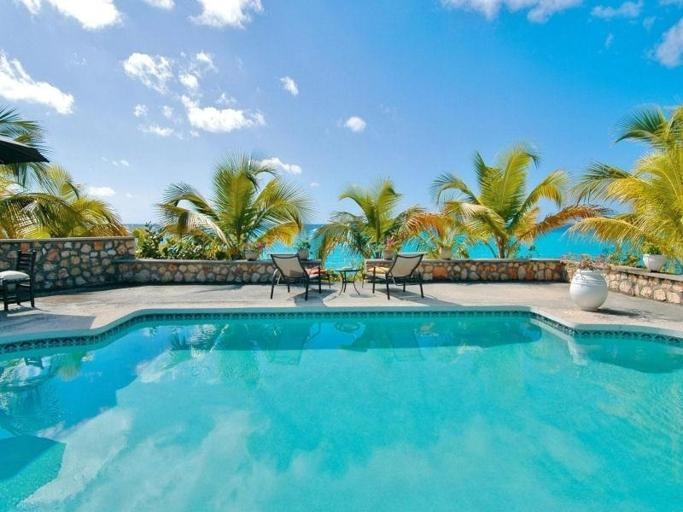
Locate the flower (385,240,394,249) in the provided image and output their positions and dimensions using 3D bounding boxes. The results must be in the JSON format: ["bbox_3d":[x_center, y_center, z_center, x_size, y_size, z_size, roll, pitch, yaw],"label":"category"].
[{"bbox_3d":[1.420,-0.327,12.247,0.225,0.156,0.234,-13,-9,36],"label":"flower"}]

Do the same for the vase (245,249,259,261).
[{"bbox_3d":[-2.747,-0.011,12.281,0.319,0.258,0.336,-1,0,25],"label":"vase"}]

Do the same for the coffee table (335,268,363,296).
[{"bbox_3d":[0.207,0.662,11.310,0.679,0.638,0.634,-1,7,-5],"label":"coffee table"}]

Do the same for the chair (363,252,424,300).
[{"bbox_3d":[1.295,0.453,10.735,0.966,1.184,2.173,-2,5,-18],"label":"chair"}]

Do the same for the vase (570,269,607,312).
[{"bbox_3d":[5.214,0.718,8.564,0.704,0.867,0.734,-2,3,-7],"label":"vase"}]

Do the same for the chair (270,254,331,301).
[{"bbox_3d":[-1.039,0.448,10.499,0.986,1.176,2.001,0,4,20],"label":"chair"}]

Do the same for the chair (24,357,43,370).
[{"bbox_3d":[-5.281,1.843,6.933,0.224,0.161,0.526,2,-2,-45],"label":"chair"}]

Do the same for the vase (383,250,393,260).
[{"bbox_3d":[1.377,-0.017,12.183,0.256,0.207,0.253,-2,-2,37],"label":"vase"}]

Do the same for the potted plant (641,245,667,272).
[{"bbox_3d":[7.423,0.071,9.795,0.545,0.643,0.553,4,0,-3],"label":"potted plant"}]

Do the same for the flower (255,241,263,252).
[{"bbox_3d":[-2.552,-0.240,12.506,0.221,0.334,0.380,1,-1,-11],"label":"flower"}]
